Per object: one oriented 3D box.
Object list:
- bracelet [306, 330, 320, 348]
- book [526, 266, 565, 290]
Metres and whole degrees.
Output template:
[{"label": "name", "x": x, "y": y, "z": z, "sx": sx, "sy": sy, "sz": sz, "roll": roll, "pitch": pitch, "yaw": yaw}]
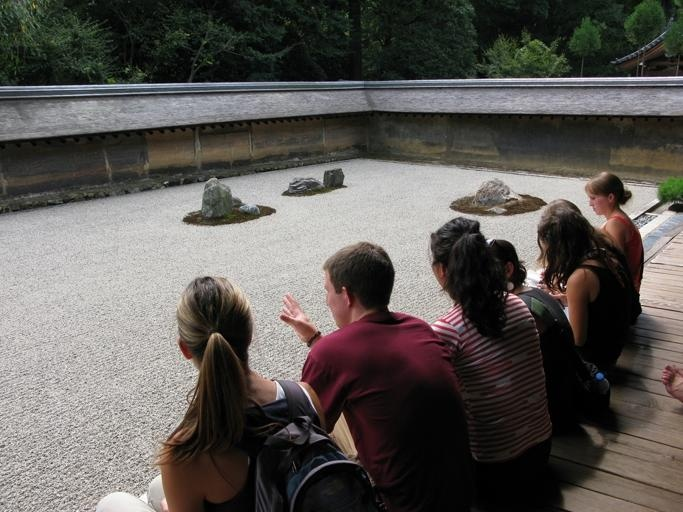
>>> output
[{"label": "bracelet", "x": -0.189, "y": 0.494, "z": 2.495, "sx": 0.097, "sy": 0.026, "sz": 0.097, "roll": -35, "pitch": 9, "yaw": 27}, {"label": "book", "x": 1.650, "y": 0.186, "z": 3.491, "sx": 0.211, "sy": 0.073, "sz": 0.209, "roll": 5, "pitch": 12, "yaw": 30}]
